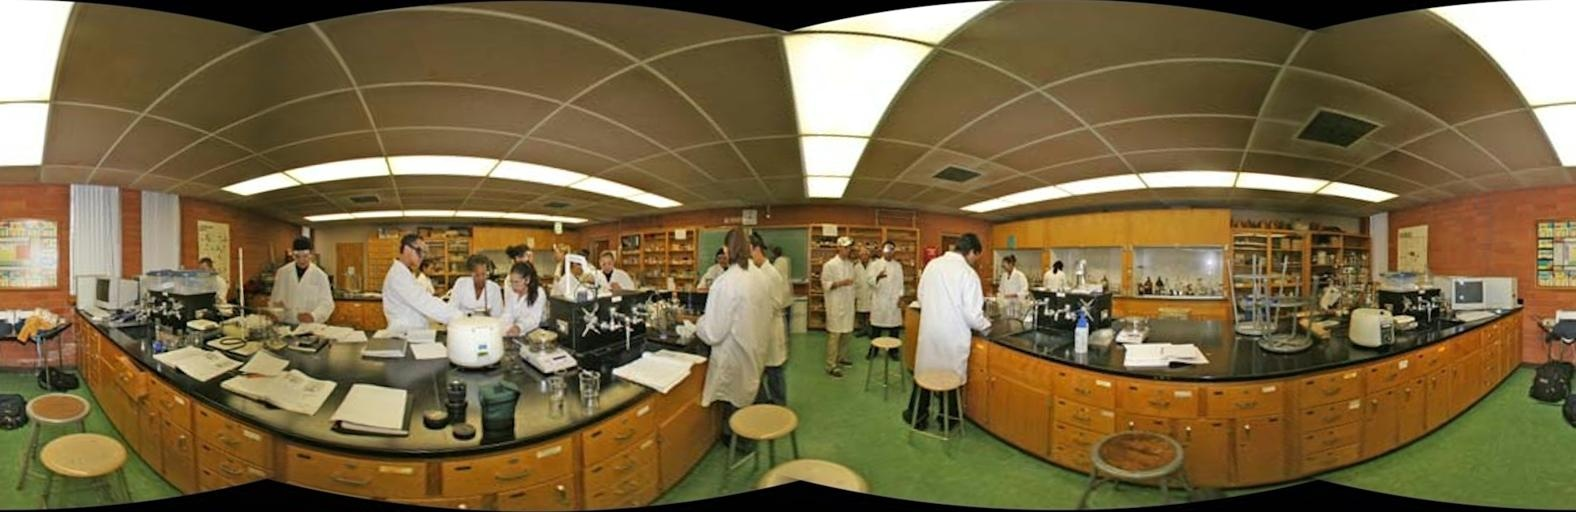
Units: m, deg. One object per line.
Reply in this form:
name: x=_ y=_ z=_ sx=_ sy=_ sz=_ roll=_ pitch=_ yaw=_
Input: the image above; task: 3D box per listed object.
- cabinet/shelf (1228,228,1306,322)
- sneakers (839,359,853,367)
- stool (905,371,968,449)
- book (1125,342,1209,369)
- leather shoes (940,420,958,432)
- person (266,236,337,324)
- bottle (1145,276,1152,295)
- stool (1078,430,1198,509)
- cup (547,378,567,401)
cabinet/shelf: x=3.984 y=0.075 z=5.832 sx=0.551 sy=0.648 sz=0.536 roll=-1 pitch=-3 yaw=26
sneakers: x=0.470 y=0.899 z=5.914 sx=0.159 sy=0.036 sz=0.046 roll=0 pitch=5 yaw=-12
stool: x=1.243 y=1.308 z=5.965 sx=0.479 sy=0.591 sz=0.478 roll=0 pitch=-2 yaw=9
book: x=3.207 y=0.847 z=6.002 sx=0.458 sy=0.050 sz=0.330 roll=-2 pitch=14 yaw=19
leather shoes: x=1.354 y=1.439 z=5.889 sx=0.207 sy=0.035 sz=0.143 roll=-1 pitch=0 yaw=-2
person: x=-4.166 y=0.191 z=6.002 sx=0.485 sy=0.740 sz=0.386 roll=1 pitch=-3 yaw=-19
bottle: x=2.956 y=0.214 z=5.762 sx=0.069 sy=0.142 sz=0.147 roll=0 pitch=-2 yaw=24
stool: x=2.790 y=1.688 z=5.692 sx=1.045 sy=0.415 sz=0.789 roll=-2 pitch=-1 yaw=13
cup: x=-1.953 y=1.103 z=5.919 sx=0.144 sy=0.186 sz=0.204 roll=1 pitch=-2 yaw=-14
